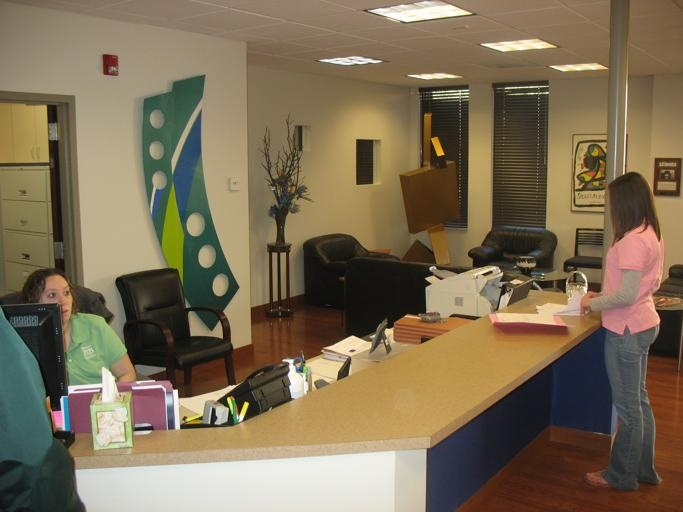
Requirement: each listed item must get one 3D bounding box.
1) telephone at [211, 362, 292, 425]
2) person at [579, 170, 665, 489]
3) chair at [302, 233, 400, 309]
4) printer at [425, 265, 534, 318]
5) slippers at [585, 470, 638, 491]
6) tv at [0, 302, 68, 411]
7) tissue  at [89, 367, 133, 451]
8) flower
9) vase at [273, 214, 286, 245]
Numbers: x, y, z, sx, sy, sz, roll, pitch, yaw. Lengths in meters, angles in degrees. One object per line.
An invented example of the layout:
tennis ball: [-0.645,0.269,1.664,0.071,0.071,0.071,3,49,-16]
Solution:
telephone: [-0.386,0.612,2.290,0.294,0.112,0.184,-18,16,-27]
person: [1.794,0.503,3.304,0.475,2.074,0.433,5,11,32]
chair: [0.152,0.155,8.269,1.167,1.162,1.304,3,6,40]
printer: [1.079,0.241,4.214,0.710,0.391,0.421,4,6,36]
slippers: [1.762,1.500,3.451,0.290,0.131,0.121,-1,4,32]
tv: [-1.250,0.412,2.148,0.236,0.447,0.105,-2,9,-6]
tissue : [-0.878,0.588,2.019,0.146,0.321,0.080,-3,9,-12]
flower: [-0.791,-1.378,7.615,0.698,1.489,0.996,-1,9,-4]
vase: [-0.847,-0.417,7.357,0.132,0.431,0.235,-2,9,-7]
